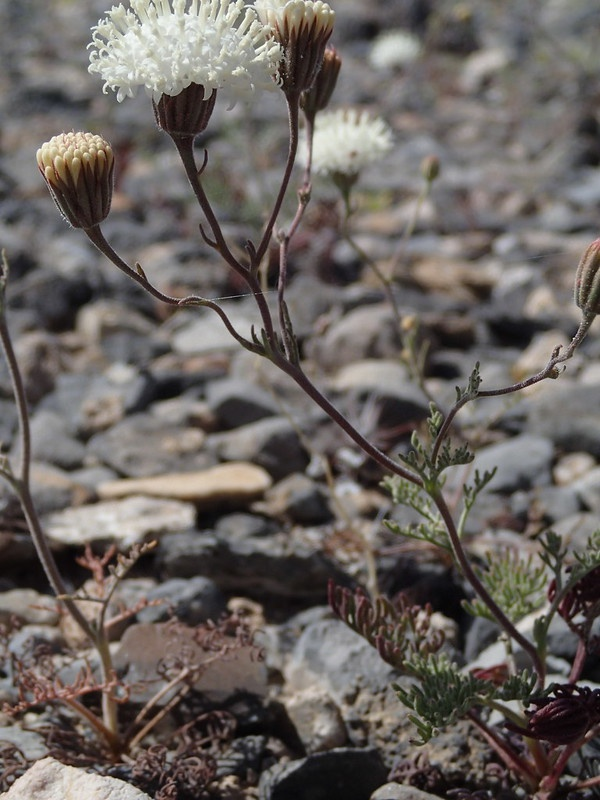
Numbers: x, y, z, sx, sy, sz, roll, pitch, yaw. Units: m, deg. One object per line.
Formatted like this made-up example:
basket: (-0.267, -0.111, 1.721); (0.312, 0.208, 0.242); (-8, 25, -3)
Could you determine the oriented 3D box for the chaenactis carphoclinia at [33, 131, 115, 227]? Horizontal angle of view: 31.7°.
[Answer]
chaenactis carphoclinia: (-0.363, -0.382, 1.823); (0.116, 0.161, 0.137); (-8, 25, 16)
